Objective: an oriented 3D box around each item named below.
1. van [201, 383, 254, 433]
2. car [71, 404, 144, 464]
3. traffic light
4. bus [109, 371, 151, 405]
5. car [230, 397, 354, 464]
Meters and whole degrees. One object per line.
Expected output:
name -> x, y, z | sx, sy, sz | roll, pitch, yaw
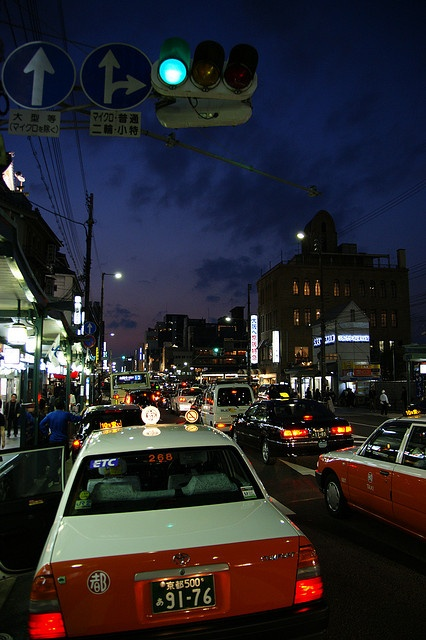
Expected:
van -> 0.482, 2.892, 16.980 | 1.143, 1.181, 2.055 | 1, -1, -8
car -> -2.047, 2.483, 9.596 | 1.316, 1.160, 2.314 | 1, -2, -11
traffic light -> -0.091, -1.999, 3.826 | 0.863, 0.320, 0.444 | 1, -7, 4
bus -> -5.244, 4.176, 30.992 | 2.462, 2.416, 3.856 | 0, -6, -8
car -> 1.549, 2.441, 11.446 | 1.336, 0.903, 2.931 | -1, -4, -13
